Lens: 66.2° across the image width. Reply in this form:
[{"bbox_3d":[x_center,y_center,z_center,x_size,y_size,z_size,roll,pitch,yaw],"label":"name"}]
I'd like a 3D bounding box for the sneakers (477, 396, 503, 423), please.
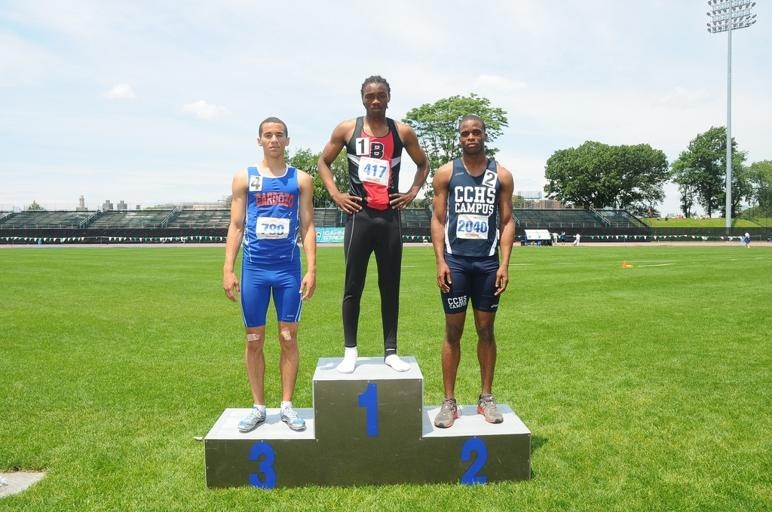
[{"bbox_3d":[1.216,1.767,6.893,0.289,0.218,0.408,1,15,5],"label":"sneakers"}]

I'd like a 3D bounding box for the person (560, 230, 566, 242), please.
[{"bbox_3d":[16.560,-1.807,55.447,0.564,0.970,2.453,4,16,16],"label":"person"}]

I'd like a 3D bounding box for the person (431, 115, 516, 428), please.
[{"bbox_3d":[0.988,0.099,6.998,0.973,3.385,1.296,2,15,11],"label":"person"}]

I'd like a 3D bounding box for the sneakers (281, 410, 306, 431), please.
[{"bbox_3d":[-1.044,1.859,6.762,0.140,0.161,0.379,4,1,-37],"label":"sneakers"}]

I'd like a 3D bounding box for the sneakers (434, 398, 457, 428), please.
[{"bbox_3d":[0.695,1.781,6.805,0.250,0.220,0.405,3,15,13],"label":"sneakers"}]

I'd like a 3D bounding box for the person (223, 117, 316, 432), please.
[{"bbox_3d":[-1.405,0.150,6.911,1.058,3.380,1.268,1,15,5],"label":"person"}]
